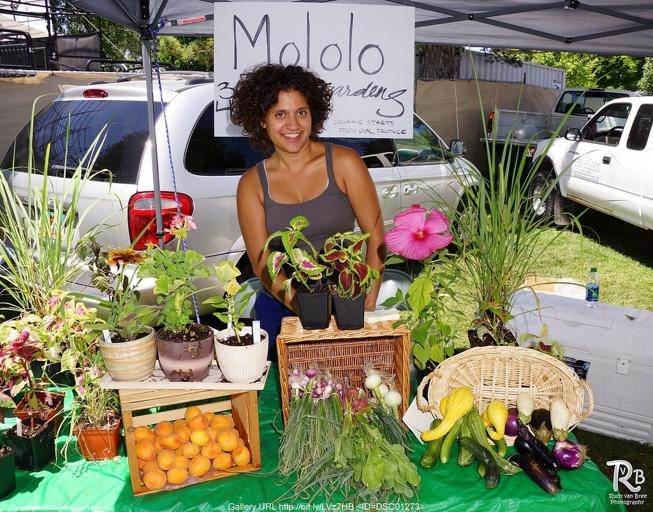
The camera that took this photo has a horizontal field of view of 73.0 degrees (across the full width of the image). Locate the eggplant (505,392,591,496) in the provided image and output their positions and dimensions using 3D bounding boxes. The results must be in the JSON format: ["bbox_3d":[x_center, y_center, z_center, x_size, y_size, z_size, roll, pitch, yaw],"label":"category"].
[{"bbox_3d":[0.819,0.676,1.671,0.248,0.236,0.261,-16,24,-39],"label":"eggplant"}]

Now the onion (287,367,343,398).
[{"bbox_3d":[-0.052,0.506,1.764,0.211,0.137,0.181,-4,19,-10],"label":"onion"}]

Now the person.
[{"bbox_3d":[-0.138,-0.132,2.267,0.589,1.474,0.624,2,17,-7],"label":"person"}]

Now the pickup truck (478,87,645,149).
[{"bbox_3d":[4.825,-2.988,9.803,2.971,1.492,1.669,-1,25,-4],"label":"pickup truck"}]
